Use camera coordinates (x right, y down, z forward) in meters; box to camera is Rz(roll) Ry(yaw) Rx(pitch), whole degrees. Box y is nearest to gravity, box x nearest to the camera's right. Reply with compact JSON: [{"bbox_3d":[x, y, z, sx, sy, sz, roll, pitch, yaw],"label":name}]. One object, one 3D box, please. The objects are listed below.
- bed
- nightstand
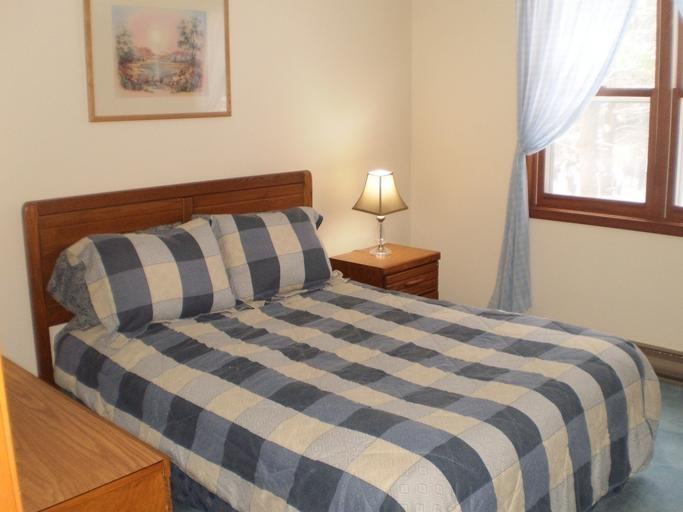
[{"bbox_3d":[-0.009,0.379,2.702,1.495,0.987,1.552,-12,17,-43],"label":"bed"},{"bbox_3d":[0.355,0.082,4.079,0.437,0.561,0.557,8,13,40],"label":"nightstand"}]
